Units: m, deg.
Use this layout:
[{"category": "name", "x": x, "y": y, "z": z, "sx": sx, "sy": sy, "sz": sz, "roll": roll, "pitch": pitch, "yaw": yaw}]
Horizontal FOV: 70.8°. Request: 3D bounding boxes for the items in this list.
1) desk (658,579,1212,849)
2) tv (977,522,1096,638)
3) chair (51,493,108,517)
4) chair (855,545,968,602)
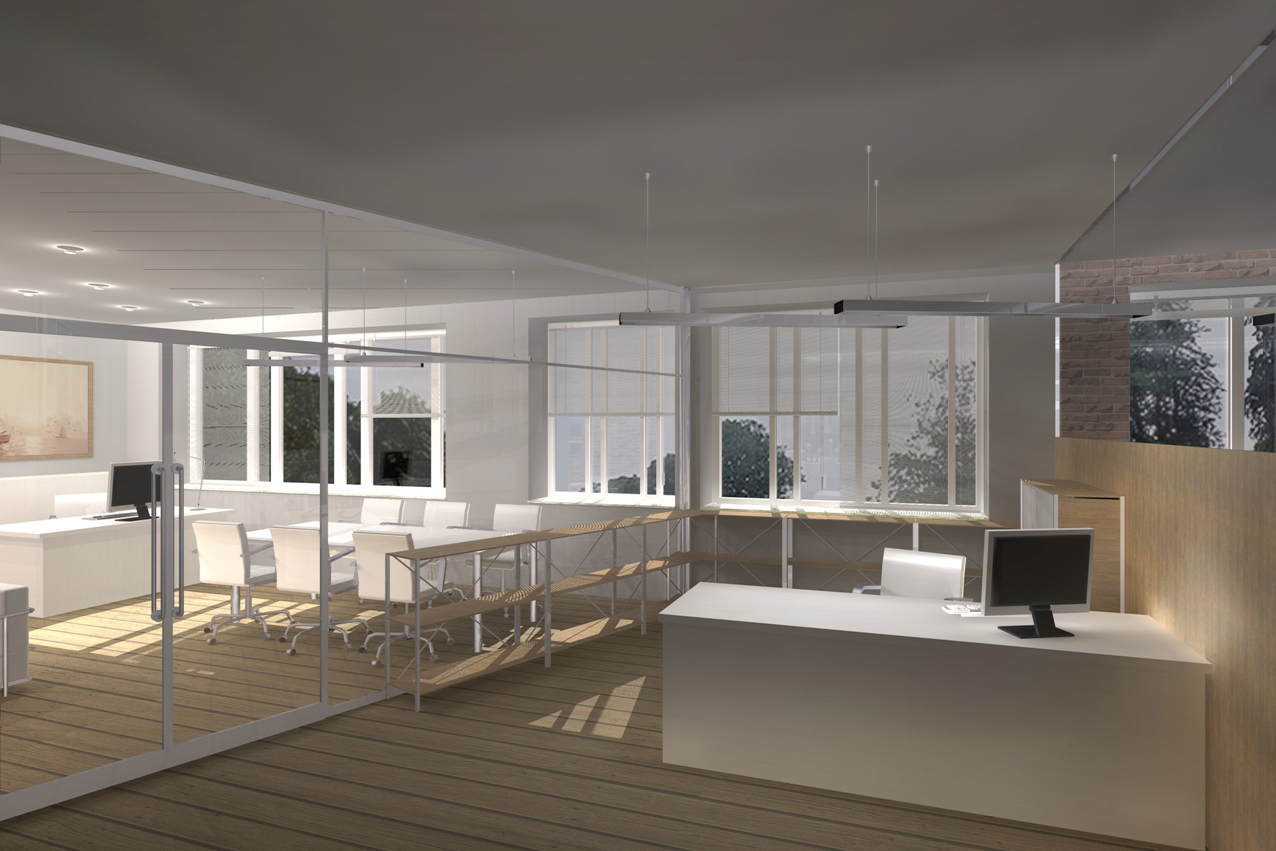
[{"category": "desk", "x": 1.751, "y": 1.730, "z": 5.109, "sx": 3.321, "sy": 1.090, "sz": 1.044, "roll": 1, "pitch": 0, "yaw": 14}, {"category": "tv", "x": 2.342, "y": 0.923, "z": 5.234, "sx": 0.695, "sy": 0.557, "sz": 0.243, "roll": 1, "pitch": -4, "yaw": 3}, {"category": "chair", "x": -3.427, "y": 0.470, "z": 5.483, "sx": 0.283, "sy": 0.235, "sz": 0.145, "roll": -2, "pitch": 6, "yaw": -28}, {"category": "chair", "x": 2.037, "y": 1.054, "z": 6.451, "sx": 0.559, "sy": 0.649, "sz": 0.516, "roll": -5, "pitch": -11, "yaw": 41}]
